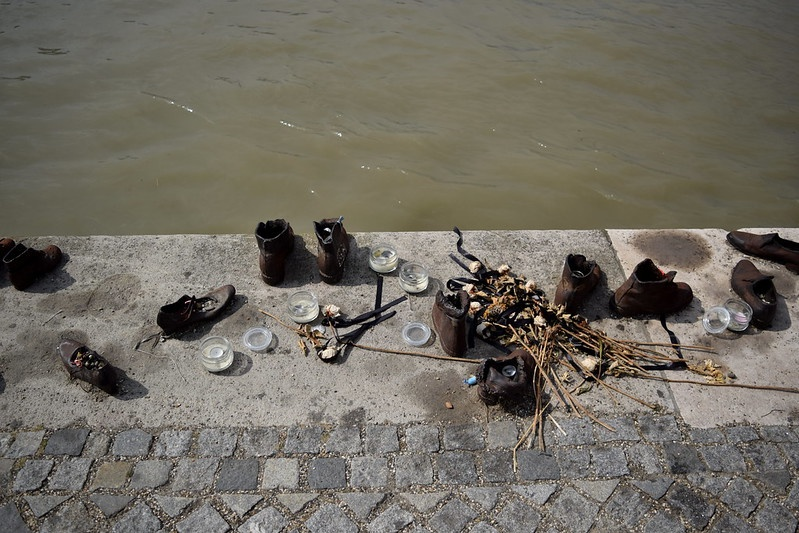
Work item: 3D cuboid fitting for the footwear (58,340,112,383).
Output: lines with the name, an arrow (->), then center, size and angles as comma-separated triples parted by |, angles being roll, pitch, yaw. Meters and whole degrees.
footwear -> -3.508, 1.044, 6.605 | 0.597, 0.220, 0.336 | 26, 64, 16

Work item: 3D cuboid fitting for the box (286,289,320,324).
box -> -1.131, 0.488, 7.050 | 0.380, 0.150, 0.385 | 39, 65, 22

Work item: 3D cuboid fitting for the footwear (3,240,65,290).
footwear -> -4.445, 0.015, 7.272 | 0.228, 0.355, 0.517 | 30, 47, 15

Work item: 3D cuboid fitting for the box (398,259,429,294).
box -> 0.181, 0.146, 7.268 | 0.358, 0.177, 0.358 | -1, 57, -1

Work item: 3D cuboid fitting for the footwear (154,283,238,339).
footwear -> -2.323, 0.520, 7.088 | 0.999, 0.382, 0.381 | -22, 66, -17

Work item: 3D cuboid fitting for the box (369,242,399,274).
box -> -0.195, -0.081, 7.437 | 0.384, 0.165, 0.376 | -2, 57, -2

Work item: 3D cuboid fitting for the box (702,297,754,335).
box -> 3.828, 0.589, 6.992 | 0.522, 0.131, 0.336 | -21, 60, 3

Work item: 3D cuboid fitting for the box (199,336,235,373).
box -> -2.047, 0.984, 6.738 | 0.363, 0.167, 0.411 | -7, 58, -5
